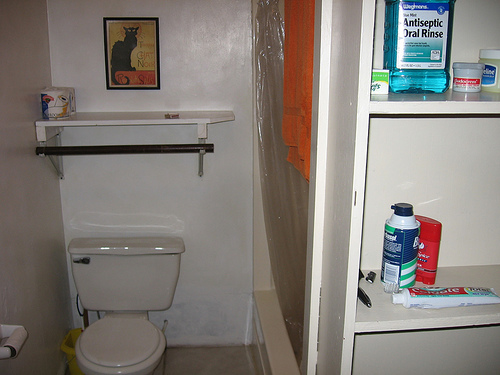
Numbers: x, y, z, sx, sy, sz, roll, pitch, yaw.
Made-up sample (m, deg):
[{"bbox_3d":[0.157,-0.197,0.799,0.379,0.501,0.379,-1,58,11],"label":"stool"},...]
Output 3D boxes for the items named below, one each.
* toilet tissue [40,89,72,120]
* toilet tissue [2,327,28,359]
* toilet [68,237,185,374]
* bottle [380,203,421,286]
[{"bbox_3d":[-0.942,-0.391,2.155,0.138,0.137,0.136,-3,-4,-18],"label":"toilet tissue"},{"bbox_3d":[-0.761,0.497,1.423,0.046,0.050,0.099,-1,14,-1],"label":"toilet tissue"},{"bbox_3d":[-0.545,0.635,2.397,0.571,0.793,0.741,0,10,-8],"label":"toilet"},{"bbox_3d":[0.474,0.180,1.375,0.105,0.267,0.107,0,18,0],"label":"bottle"}]
